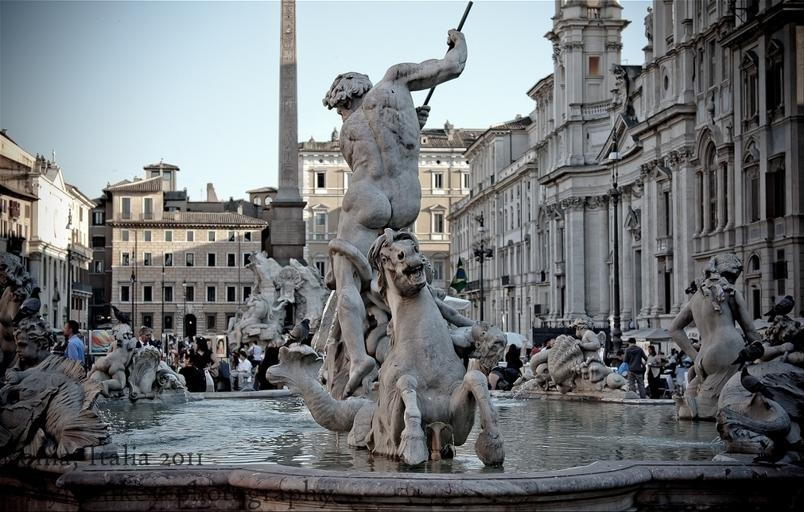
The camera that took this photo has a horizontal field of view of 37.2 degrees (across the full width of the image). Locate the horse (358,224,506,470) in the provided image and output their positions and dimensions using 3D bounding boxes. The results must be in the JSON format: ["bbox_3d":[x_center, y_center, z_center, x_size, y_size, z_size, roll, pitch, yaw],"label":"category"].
[{"bbox_3d":[0.108,0.859,11.794,1.319,2.447,2.915,-4,-7,-11],"label":"horse"}]

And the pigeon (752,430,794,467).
[{"bbox_3d":[3.286,1.717,10.542,0.315,0.252,0.231,2,-18,19],"label":"pigeon"}]

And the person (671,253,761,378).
[{"bbox_3d":[3.632,0.718,13.942,0.495,1.440,1.092,5,-10,-23],"label":"person"}]
